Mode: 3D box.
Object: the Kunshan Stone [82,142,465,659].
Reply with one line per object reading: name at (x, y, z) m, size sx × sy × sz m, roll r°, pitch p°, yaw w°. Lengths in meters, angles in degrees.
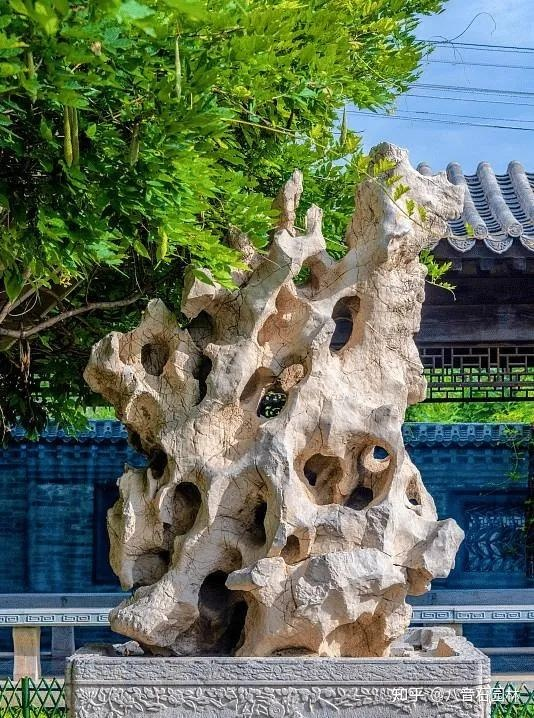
Kunshan Stone at (0.052, 0.253, 8.499) m, size 1.465 × 2.192 × 2.022 m, roll -10°, pitch -1°, yaw 2°
